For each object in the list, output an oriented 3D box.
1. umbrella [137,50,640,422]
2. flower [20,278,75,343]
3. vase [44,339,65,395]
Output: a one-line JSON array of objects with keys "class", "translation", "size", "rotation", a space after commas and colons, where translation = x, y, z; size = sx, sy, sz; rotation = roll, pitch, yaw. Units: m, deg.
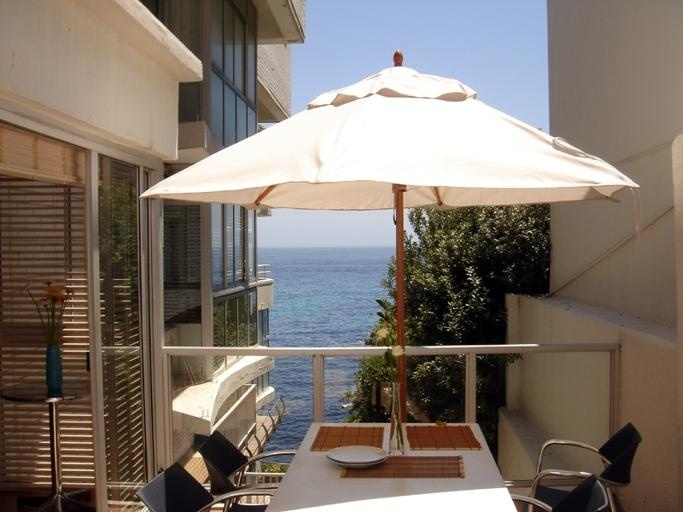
[{"class": "umbrella", "translation": [0.221, -0.745, 5.816], "size": [2.897, 2.690, 3.254], "rotation": [0, 1, -7]}, {"class": "flower", "translation": [-2.524, 0.482, 6.358], "size": [0.317, 0.537, 0.532], "rotation": [3, -5, -35]}, {"class": "vase", "translation": [-2.368, 0.937, 6.084], "size": [0.110, 0.447, 0.142], "rotation": [3, -5, -34]}]
